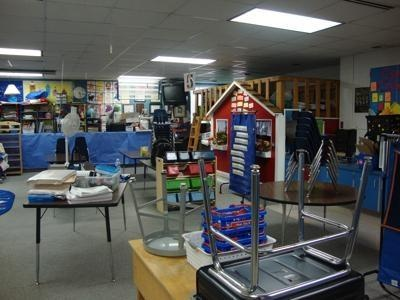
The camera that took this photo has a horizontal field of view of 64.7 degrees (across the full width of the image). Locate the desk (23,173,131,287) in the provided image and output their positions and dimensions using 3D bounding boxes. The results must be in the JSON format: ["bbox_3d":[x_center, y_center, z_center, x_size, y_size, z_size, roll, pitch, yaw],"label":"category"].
[{"bbox_3d":[-1.416,0.725,3.807,1.046,0.964,1.954,-1,4,-18],"label":"desk"}]

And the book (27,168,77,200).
[{"bbox_3d":[-1.671,0.378,3.666,0.329,0.150,0.450,0,3,-9],"label":"book"}]

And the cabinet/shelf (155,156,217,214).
[{"bbox_3d":[-0.208,0.598,6.095,0.950,0.906,0.367,-3,10,-6],"label":"cabinet/shelf"}]

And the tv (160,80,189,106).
[{"bbox_3d":[-1.150,-2.713,14.502,1.209,1.127,0.674,-1,23,-4],"label":"tv"}]

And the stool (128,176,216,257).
[{"bbox_3d":[-0.398,0.556,2.929,0.611,0.574,0.638,-18,-17,9],"label":"stool"}]

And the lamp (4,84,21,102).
[{"bbox_3d":[-7.372,-2.277,12.648,0.686,0.775,0.667,-1,5,-18],"label":"lamp"}]

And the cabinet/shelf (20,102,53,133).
[{"bbox_3d":[-6.642,-1.321,12.760,1.426,1.616,0.511,0,0,-26],"label":"cabinet/shelf"}]

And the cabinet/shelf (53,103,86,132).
[{"bbox_3d":[-5.200,-1.316,12.789,1.199,1.166,2.115,-4,9,-24],"label":"cabinet/shelf"}]

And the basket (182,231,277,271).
[{"bbox_3d":[0.193,0.600,2.233,0.513,0.170,0.388,-1,2,-29],"label":"basket"}]
